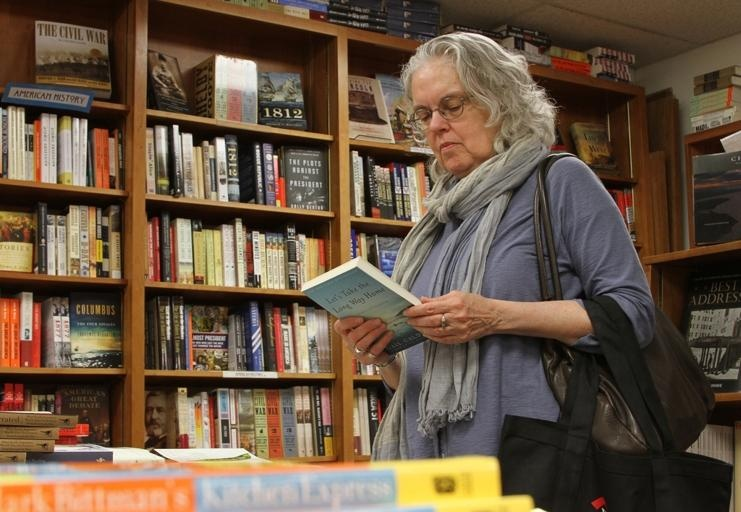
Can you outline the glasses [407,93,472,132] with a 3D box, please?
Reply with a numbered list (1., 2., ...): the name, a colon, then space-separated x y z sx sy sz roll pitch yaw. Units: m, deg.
1. glasses: 0.185 -0.396 2.192 0.053 0.073 0.181 13 -17 -39
